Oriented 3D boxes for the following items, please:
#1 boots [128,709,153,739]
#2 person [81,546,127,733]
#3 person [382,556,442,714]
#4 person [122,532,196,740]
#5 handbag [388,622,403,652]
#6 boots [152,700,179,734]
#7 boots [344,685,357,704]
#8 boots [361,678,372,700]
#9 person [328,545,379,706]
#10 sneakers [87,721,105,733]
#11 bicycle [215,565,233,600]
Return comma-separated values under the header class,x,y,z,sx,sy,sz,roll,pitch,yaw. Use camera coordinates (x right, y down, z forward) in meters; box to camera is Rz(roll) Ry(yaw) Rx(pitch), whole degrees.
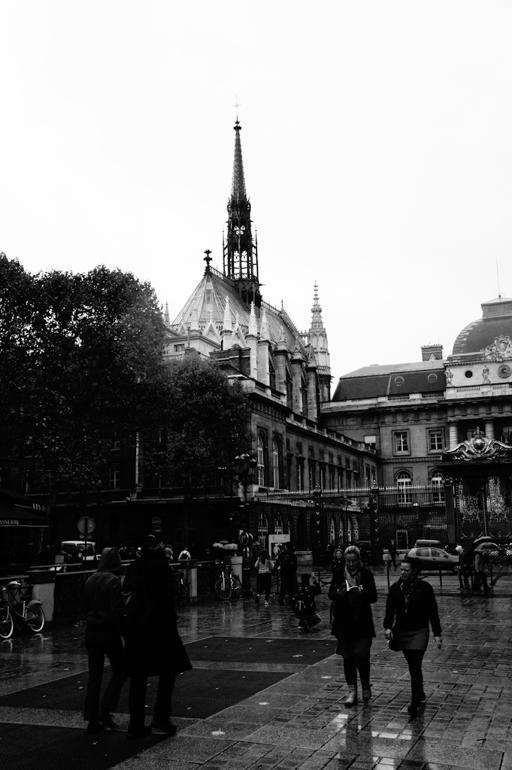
class,x,y,z,sx,sy,sz,roll,pitch,yaw
boots,-1.074,3.161,7.958,0.255,0.217,0.217,3,-14,-25
person,-1.479,2.452,8.287,0.377,1.715,0.909,0,-12,-12
person,1.636,2.618,9.022,0.479,1.540,0.860,-9,-13,29
person,-0.926,2.388,7.951,0.568,1.697,0.349,-1,-11,-10
handbag,1.466,2.655,8.959,0.128,0.232,0.295,-5,-13,9
boots,-0.864,3.150,8.070,0.323,0.370,0.175,2,-8,2
boots,0.998,3.280,8.985,0.099,0.180,0.249,-6,-13,16
boots,1.224,3.328,9.337,0.119,0.317,0.089,16,-26,-25
person,1.081,2.593,9.305,0.501,1.652,0.625,-4,-12,5
sneakers,-1.517,3.244,8.089,0.174,0.101,0.100,2,-14,-25
bicycle,-0.956,6.084,25.994,0.508,0.863,0.739,-4,-12,4
